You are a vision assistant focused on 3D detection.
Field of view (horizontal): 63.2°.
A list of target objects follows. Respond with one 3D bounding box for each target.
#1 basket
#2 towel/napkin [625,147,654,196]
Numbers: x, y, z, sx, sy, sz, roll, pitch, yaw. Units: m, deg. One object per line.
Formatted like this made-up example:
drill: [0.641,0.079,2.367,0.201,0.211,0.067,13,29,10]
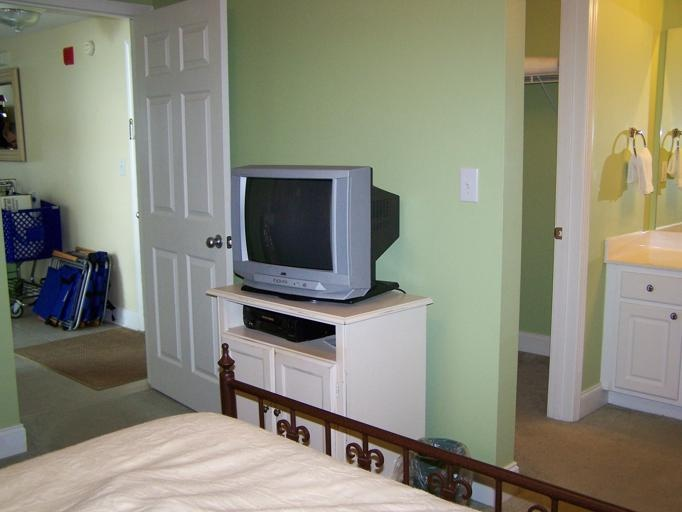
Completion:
basket: [-3.402,-0.238,6.326,0.807,0.847,0.767,-1,3,-43]
towel/napkin: [2.132,-0.612,3.925,0.140,0.346,0.308,8,13,40]
